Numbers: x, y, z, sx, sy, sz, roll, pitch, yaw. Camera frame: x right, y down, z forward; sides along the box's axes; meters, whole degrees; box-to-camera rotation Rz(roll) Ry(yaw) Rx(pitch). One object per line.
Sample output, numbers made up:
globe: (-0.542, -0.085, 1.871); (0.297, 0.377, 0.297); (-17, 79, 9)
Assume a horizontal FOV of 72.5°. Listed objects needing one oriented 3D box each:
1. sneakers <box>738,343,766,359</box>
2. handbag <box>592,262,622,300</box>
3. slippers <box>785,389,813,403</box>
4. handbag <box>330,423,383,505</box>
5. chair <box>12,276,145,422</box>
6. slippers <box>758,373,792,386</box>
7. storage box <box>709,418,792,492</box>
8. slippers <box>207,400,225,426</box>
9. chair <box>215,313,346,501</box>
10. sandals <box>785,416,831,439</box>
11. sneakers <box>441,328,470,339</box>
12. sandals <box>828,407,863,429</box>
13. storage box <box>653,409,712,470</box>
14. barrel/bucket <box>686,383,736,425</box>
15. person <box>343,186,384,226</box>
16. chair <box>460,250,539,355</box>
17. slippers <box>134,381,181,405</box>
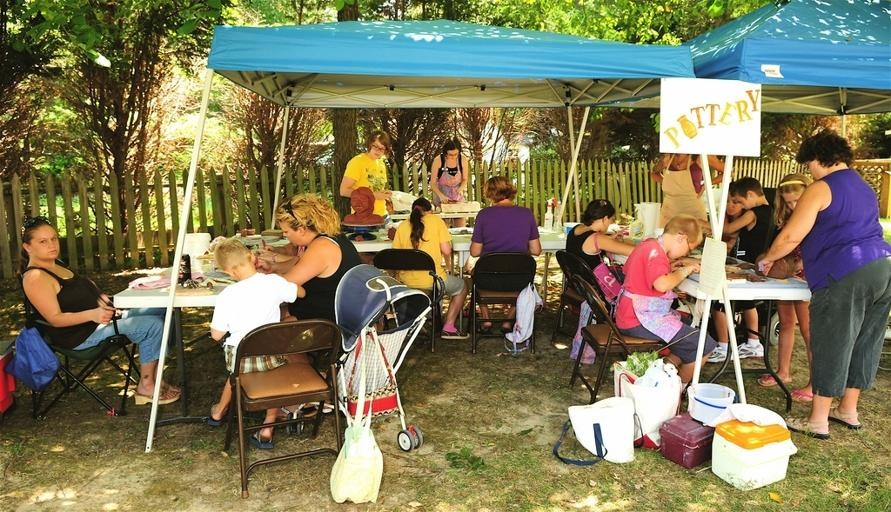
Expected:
sneakers: (3.871, 1.176, 7.494); (0.454, 0.172, 0.173); (1, -2, 2)
handbag: (1.877, 0.315, 7.029); (0.325, 0.400, 0.125); (-35, -5, -27)
slippers: (3.900, 1.525, 6.638); (0.139, 0.099, 0.264); (-2, -5, 8)
handbag: (-0.786, 1.813, 5.378); (0.451, 0.737, 0.226); (-3, 7, -12)
chair: (-3.832, 1.043, 6.639); (1.013, 1.146, 0.893); (-6, 9, -21)
slippers: (3.712, 1.420, 6.889); (0.473, 0.126, 0.176); (1, 1, 1)
storage box: (2.779, 1.734, 5.650); (0.943, 0.594, 0.581); (0, 3, -32)
slippers: (-2.337, 1.626, 6.322); (0.126, 0.123, 0.328); (8, 15, -2)
chair: (-1.456, 1.331, 5.709); (1.002, 1.556, 0.624); (-3, 7, -10)
sandals: (3.618, 1.726, 6.093); (0.394, 0.128, 0.193); (10, 8, 35)
sneakers: (0.129, 1.065, 8.206); (0.332, 0.113, 0.131); (0, 0, -5)
sandals: (4.076, 1.663, 6.282); (0.357, 0.128, 0.164); (8, 10, 42)
storage box: (2.265, 1.731, 5.838); (0.599, 0.372, 0.415); (0, 7, -35)
barrel/bucket: (2.570, 1.409, 5.888); (0.430, 0.248, 0.363); (0, 13, 20)
person: (-1.034, -0.561, 8.148); (0.759, 0.574, 0.464); (0, 3, 3)
chair: (0.812, 0.501, 7.915); (0.921, 1.203, 0.949); (6, 10, 37)
slippers: (-3.080, 1.514, 6.584); (0.538, 0.181, 0.280); (-1, 8, -16)
